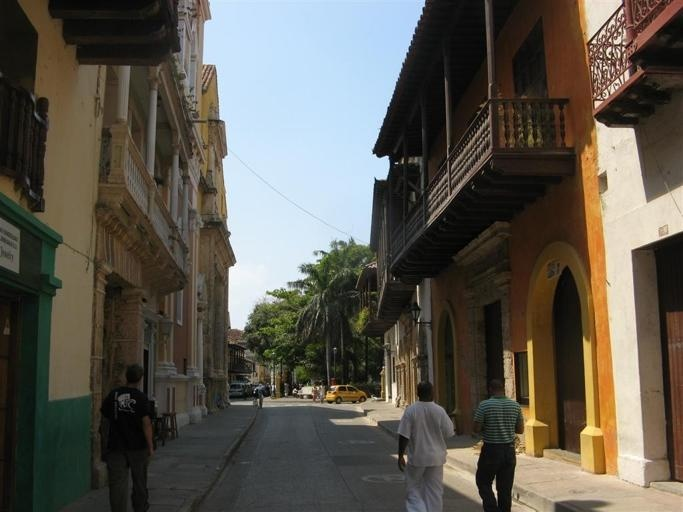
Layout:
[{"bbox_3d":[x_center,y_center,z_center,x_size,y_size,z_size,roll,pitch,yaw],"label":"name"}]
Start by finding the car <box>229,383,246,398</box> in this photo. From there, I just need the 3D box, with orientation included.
[{"bbox_3d":[-9.983,13.020,66.148,0.944,0.910,1.511,-3,-2,43],"label":"car"}]
